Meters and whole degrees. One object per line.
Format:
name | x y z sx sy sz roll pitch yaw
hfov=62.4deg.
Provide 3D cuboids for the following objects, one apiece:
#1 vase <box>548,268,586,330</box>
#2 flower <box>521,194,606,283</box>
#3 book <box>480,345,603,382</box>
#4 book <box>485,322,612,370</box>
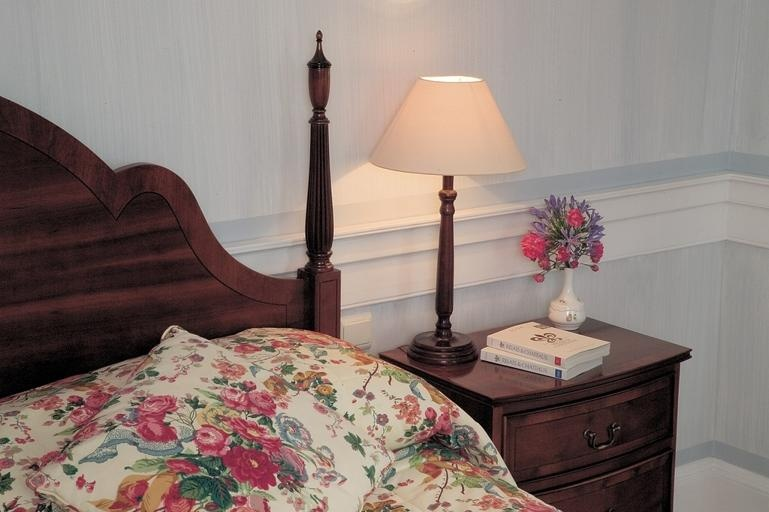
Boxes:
vase | 0.671 0.153 2.323 0.145 0.212 0.149 8 16 35
flower | 0.636 -0.078 2.299 0.202 0.228 0.224 -19 46 -4
book | 0.474 0.338 1.985 0.161 0.026 0.164 12 16 38
book | 0.507 0.278 2.020 0.189 0.031 0.191 13 16 42
